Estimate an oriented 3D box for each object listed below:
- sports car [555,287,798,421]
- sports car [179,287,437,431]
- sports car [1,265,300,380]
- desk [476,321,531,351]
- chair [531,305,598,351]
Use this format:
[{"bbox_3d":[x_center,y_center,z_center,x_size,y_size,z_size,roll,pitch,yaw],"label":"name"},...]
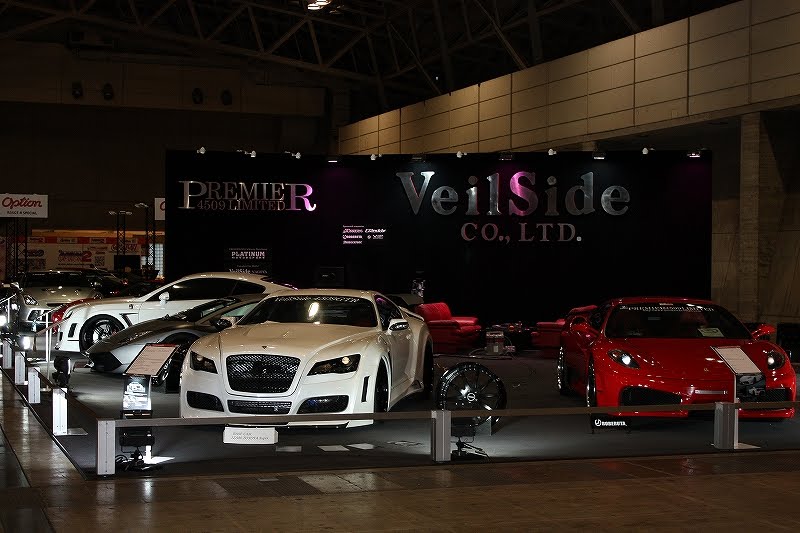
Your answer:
[{"bbox_3d":[3.518,1.246,8.390,2.015,0.870,3.216,0,-7,0],"label":"sports car"},{"bbox_3d":[-1.120,1.126,7.639,1.947,0.869,2.939,-2,-6,13],"label":"sports car"},{"bbox_3d":[-5.620,1.199,13.314,5.069,1.261,2.668,0,-1,-5],"label":"sports car"},{"bbox_3d":[3.260,2.043,16.881,1.033,0.871,3.652,0,-3,15],"label":"desk"},{"bbox_3d":[4.683,1.681,15.500,1.571,0.720,2.027,-19,-2,-24],"label":"chair"}]
